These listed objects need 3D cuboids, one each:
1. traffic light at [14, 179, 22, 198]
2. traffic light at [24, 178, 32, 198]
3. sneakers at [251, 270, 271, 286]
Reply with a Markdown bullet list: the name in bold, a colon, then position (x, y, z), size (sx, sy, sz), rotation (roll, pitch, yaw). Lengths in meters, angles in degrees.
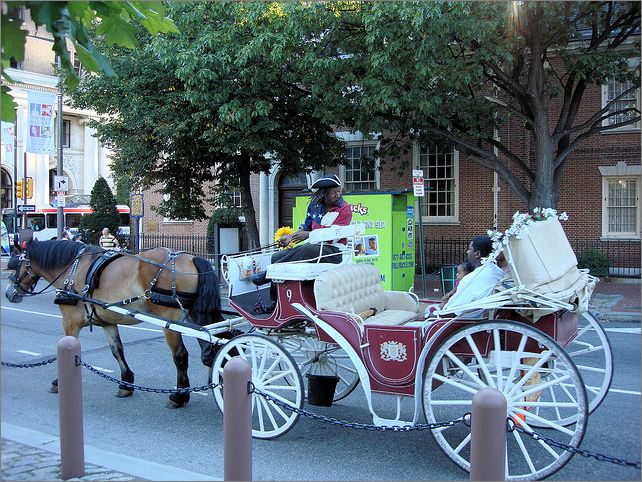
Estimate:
- **traffic light**: position (-11.874, -2.080, 26.693), size (0.249, 0.689, 0.506), rotation (-2, 3, -28)
- **traffic light**: position (-11.689, -2.176, 27.065), size (0.251, 0.734, 0.547), rotation (-1, 3, -14)
- **sneakers**: position (-0.863, 0.512, 9.533), size (0.208, 0.087, 0.196), rotation (2, 6, 28)
